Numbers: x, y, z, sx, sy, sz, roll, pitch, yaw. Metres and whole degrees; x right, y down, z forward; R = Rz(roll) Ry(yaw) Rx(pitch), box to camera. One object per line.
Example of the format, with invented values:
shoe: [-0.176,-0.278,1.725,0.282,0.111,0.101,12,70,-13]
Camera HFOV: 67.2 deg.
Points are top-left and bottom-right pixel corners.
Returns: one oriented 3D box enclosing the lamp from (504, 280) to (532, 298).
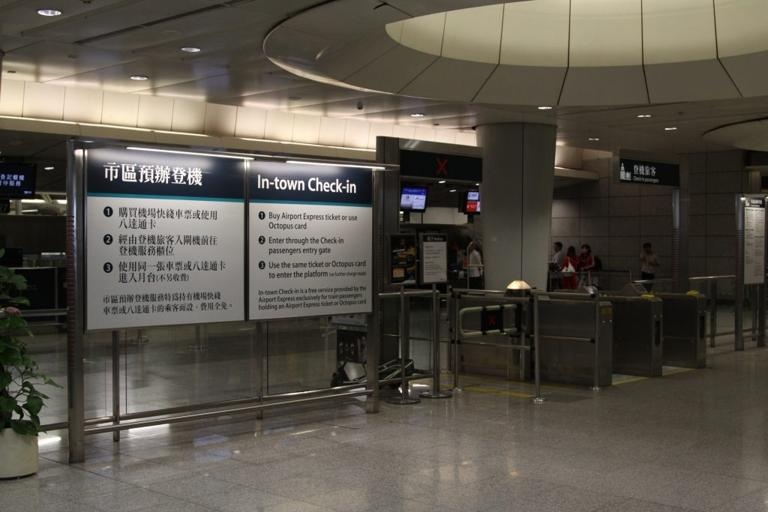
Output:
lamp: [2.562,0.653,11.016,0.419,0.236,0.400,0,-1,-12]

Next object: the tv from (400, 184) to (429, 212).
tv: [0.647,-1.190,12.068,0.554,0.336,1.025,-2,2,4]

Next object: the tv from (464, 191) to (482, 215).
tv: [2.395,-1.452,15.649,0.789,0.763,0.110,-1,0,-41]

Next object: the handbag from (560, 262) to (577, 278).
handbag: [6.578,0.503,20.549,0.514,0.642,0.223,-2,1,-2]

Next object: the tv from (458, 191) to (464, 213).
tv: [2.109,-1.468,15.621,0.124,0.532,0.298,-2,1,22]
